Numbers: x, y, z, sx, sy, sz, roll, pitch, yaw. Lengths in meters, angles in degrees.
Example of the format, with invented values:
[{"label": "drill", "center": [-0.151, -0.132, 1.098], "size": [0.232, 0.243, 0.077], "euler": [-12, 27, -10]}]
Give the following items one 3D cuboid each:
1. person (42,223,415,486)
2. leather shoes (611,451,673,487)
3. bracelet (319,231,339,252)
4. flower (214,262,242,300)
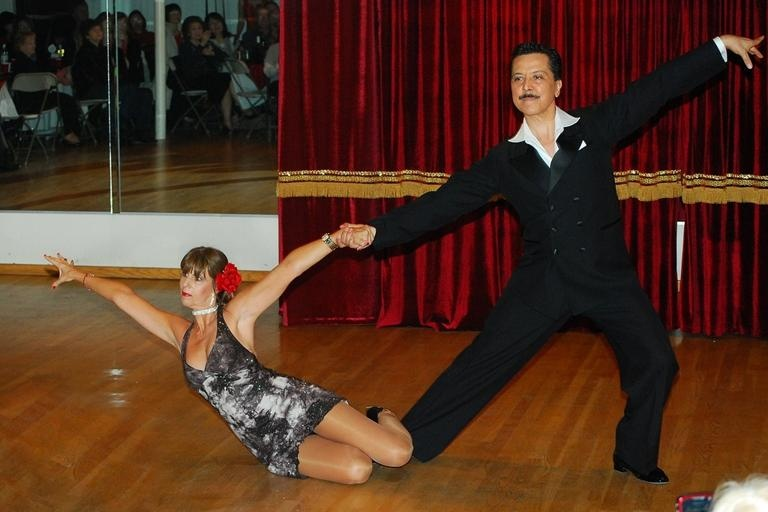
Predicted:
[{"label": "person", "center": [-0.750, 0.555, 3.207], "size": [1.618, 1.230, 0.780], "euler": [-7, 2, -11]}, {"label": "leather shoes", "center": [1.222, 1.000, 3.216], "size": [0.257, 0.114, 0.100], "euler": [1, 7, 27]}, {"label": "bracelet", "center": [-0.252, -0.067, 3.137], "size": [0.062, 0.088, 0.093], "euler": [-38, 74, -26]}, {"label": "flower", "center": [-0.721, 0.106, 3.116], "size": [0.060, 0.151, 0.143], "euler": [6, 35, 28]}]
